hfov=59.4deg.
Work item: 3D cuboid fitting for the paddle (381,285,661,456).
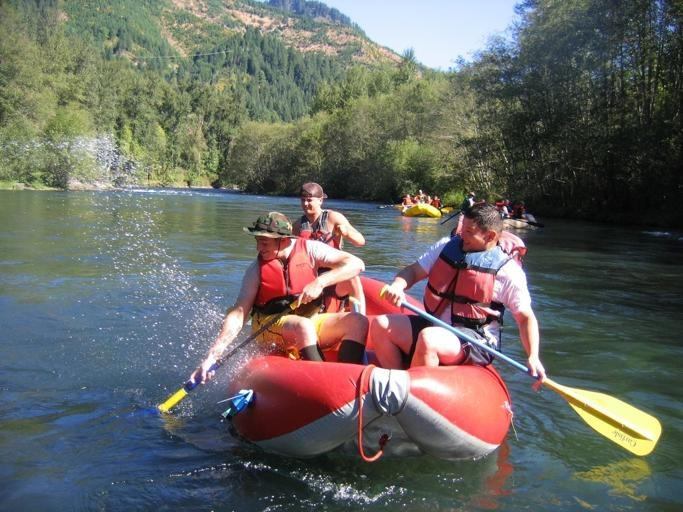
[{"bbox_3d":[1.528,1.014,5.105,2.539,0.436,0.193,28,4,10],"label":"paddle"}]

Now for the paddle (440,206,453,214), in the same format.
[{"bbox_3d":[5.493,-2.390,31.330,0.894,0.229,1.541,-2,6,6],"label":"paddle"}]

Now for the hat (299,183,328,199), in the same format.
[{"bbox_3d":[-0.311,-0.722,6.763,0.191,0.120,0.287,16,3,23],"label":"hat"}]
